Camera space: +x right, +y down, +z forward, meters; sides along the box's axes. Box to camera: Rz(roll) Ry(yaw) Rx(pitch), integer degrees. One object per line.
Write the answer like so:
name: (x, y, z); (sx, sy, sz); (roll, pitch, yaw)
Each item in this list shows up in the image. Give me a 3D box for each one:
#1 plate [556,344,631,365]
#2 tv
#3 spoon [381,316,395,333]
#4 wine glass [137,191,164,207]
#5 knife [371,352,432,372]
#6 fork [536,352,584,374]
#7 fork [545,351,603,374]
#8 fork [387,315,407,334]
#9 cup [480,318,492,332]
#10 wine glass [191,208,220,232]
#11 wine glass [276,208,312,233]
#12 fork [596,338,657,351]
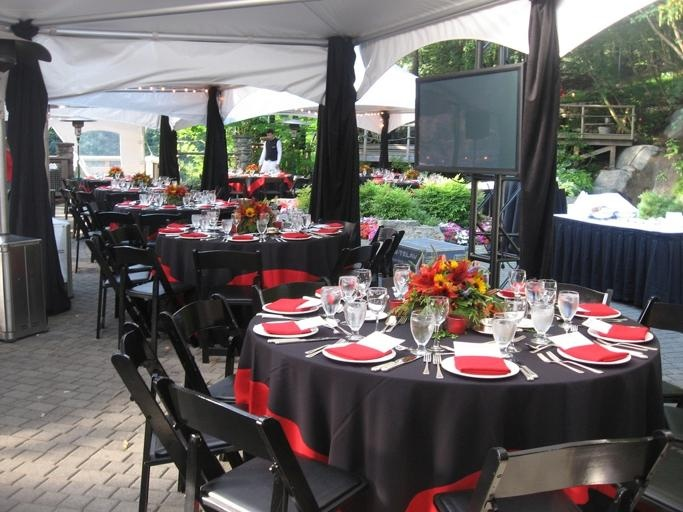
plate: (1.096, 0.436, 2.205); (0.136, 0.034, 0.145); (2, 5, 37)
tv: (1.274, -1.327, 4.997); (0.146, 0.988, 1.353); (-4, 5, -43)
spoon: (0.241, 0.368, 2.663); (0.037, 0.006, 0.136); (14, 17, 10)
wine glass: (-2.943, -0.885, 7.874); (0.347, 0.245, 0.348); (1, 8, 9)
knife: (0.252, 0.430, 2.170); (0.083, 0.024, 0.327); (13, 13, 41)
fork: (0.940, 0.448, 2.166); (0.050, 0.030, 0.211); (-6, 20, -20)
fork: (1.006, 0.464, 2.171); (0.025, 0.026, 0.178); (-9, 19, -26)
fork: (0.281, 0.355, 2.637); (0.044, 0.030, 0.187); (28, 21, 11)
cup: (0.733, 0.351, 2.559); (0.057, 0.064, 0.057); (-1, 11, 0)
wine glass: (-1.527, -0.375, 5.401); (0.370, 0.262, 0.319); (2, 7, 17)
wine glass: (-0.543, -0.387, 5.535); (0.319, 0.226, 0.279); (0, 9, -1)
fork: (1.351, 0.427, 2.399); (0.253, 0.037, 0.028); (-1, 44, 35)
